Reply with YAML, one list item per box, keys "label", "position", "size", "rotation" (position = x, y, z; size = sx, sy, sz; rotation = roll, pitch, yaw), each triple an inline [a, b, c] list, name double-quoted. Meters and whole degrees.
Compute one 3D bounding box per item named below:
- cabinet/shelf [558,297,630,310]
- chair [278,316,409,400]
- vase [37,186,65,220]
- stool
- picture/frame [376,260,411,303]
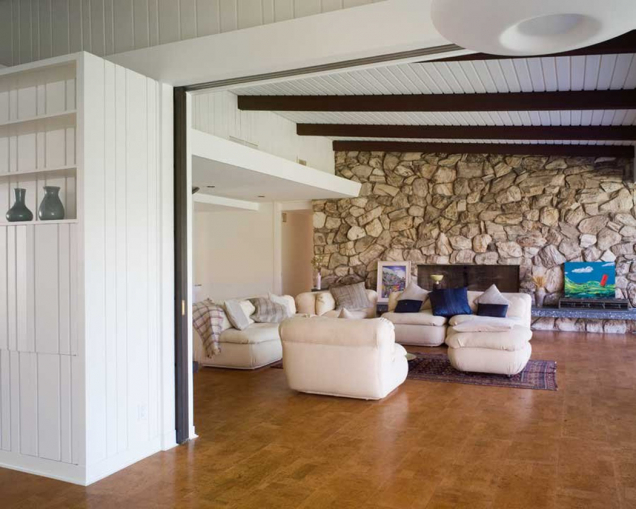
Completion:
- label: "cabinet/shelf"
  position: [4.823, 0.849, 8.573]
  size: [1.099, 0.174, 0.444]
  rotation: [0, 1, 20]
- label: "chair"
  position: [0.328, 0.918, 5.122]
  size: [1.125, 0.696, 0.929]
  rotation: [0, 1, 26]
- label: "vase"
  position: [-1.856, -0.359, 3.443]
  size: [0.153, 0.195, 0.215]
  rotation: [-1, 1, -44]
- label: "stool"
  position: [1.999, 1.080, 5.738]
  size: [0.685, 0.317, 0.709]
  rotation: [-2, -5, 19]
- label: "picture/frame"
  position: [1.519, 0.539, 9.636]
  size: [0.947, 1.024, 0.096]
  rotation: [0, -2, 18]
